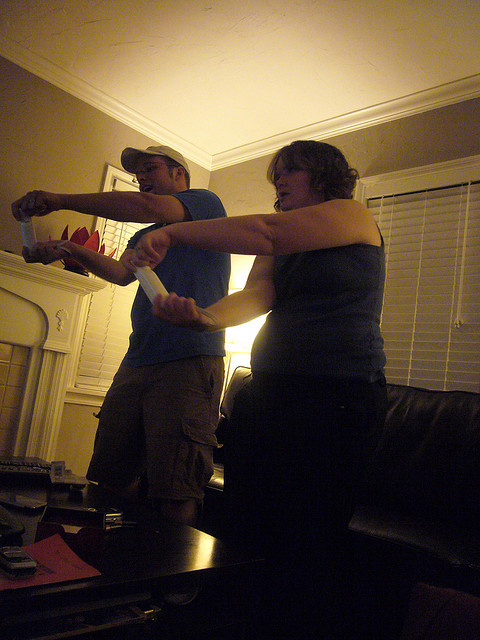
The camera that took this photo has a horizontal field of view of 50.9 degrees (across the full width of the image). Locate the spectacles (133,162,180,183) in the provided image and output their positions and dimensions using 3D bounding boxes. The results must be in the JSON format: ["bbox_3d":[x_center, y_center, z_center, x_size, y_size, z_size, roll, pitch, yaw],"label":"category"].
[{"bbox_3d":[-0.289,-0.496,1.652,0.137,0.047,0.052,3,-6,15],"label":"spectacles"}]

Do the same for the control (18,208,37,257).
[{"bbox_3d":[-0.549,-0.221,1.296,0.035,0.128,0.026,14,35,8],"label":"control"}]
